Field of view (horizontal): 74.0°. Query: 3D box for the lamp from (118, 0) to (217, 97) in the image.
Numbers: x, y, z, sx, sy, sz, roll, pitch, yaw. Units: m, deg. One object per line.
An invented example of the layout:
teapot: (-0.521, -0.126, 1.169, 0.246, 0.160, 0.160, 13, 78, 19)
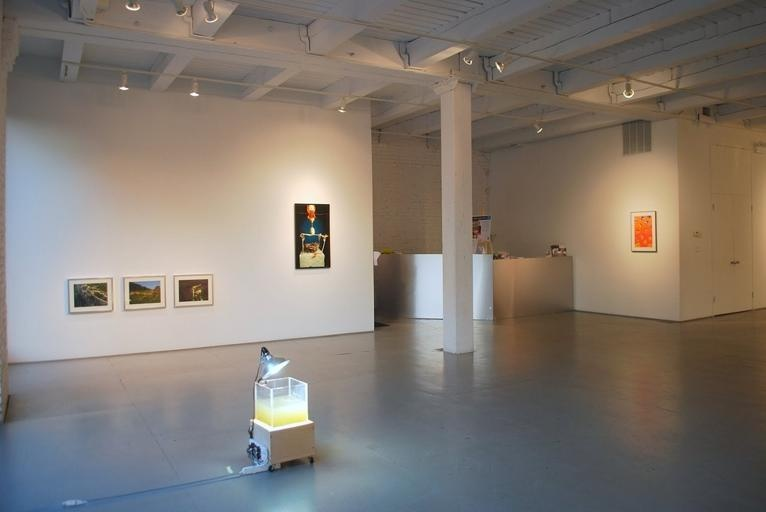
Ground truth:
lamp: (-2.862, -3.023, 7.505, 1.170, 1.535, 0.421, -5, 25, -27)

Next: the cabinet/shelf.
cabinet/shelf: (-1.102, 1.825, 5.547, 0.619, 0.812, 0.604, 1, -4, -26)
